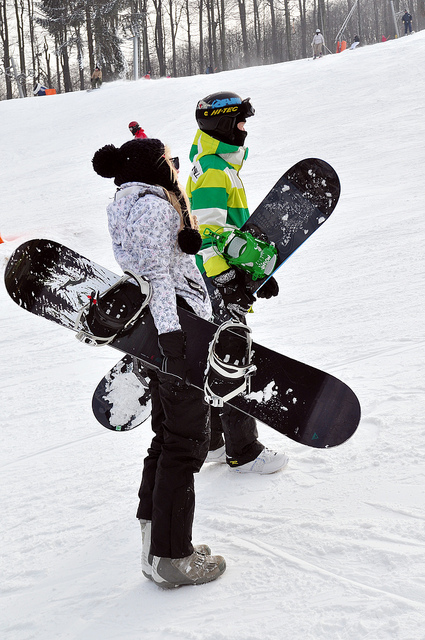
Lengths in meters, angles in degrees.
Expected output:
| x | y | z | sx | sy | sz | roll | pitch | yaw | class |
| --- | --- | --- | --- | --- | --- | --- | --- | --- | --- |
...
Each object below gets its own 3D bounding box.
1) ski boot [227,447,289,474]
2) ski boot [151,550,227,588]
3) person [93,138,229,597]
| x | y | z | sx | sy | sz | roll | pitch | yaw | class |
| --- | --- | --- | --- | --- | --- | --- | --- | --- | --- |
| 0.221 | 0.688 | 3.007 | 0.272 | 0.119 | 0.099 | -12 | 32 | 14 | ski boot |
| -0.093 | 0.865 | 2.141 | 0.171 | 0.055 | 0.114 | -15 | -34 | -10 | ski boot |
| -0.185 | 0.138 | 2.204 | 0.356 | 1.573 | 0.500 | -5 | 9 | -1 | person |
